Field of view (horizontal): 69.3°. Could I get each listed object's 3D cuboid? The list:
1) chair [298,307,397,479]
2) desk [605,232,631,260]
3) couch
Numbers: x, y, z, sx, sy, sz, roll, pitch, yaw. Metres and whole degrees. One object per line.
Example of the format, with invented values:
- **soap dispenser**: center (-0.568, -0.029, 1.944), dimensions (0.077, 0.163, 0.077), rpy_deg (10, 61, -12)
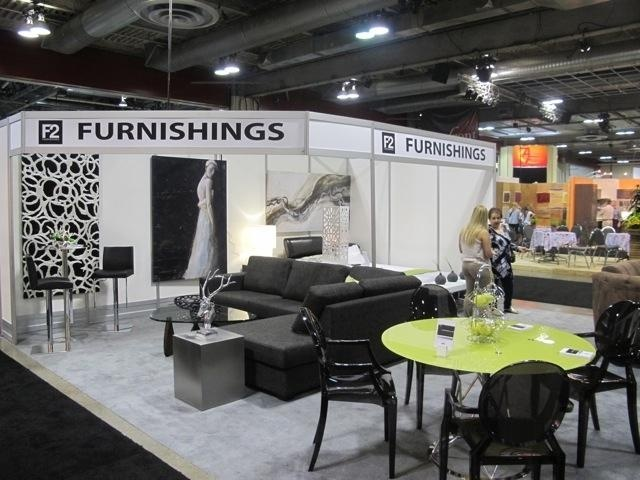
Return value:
- **chair**: center (0.306, 1.159, 4.063), dimensions (1.084, 1.582, 0.972), rpy_deg (-1, 3, 9)
- **desk**: center (7.724, 0.122, 12.016), dimensions (0.723, 0.658, 0.716), rpy_deg (1, 2, 11)
- **couch**: center (-0.048, 0.824, 4.778), dimensions (1.202, 0.678, 1.734), rpy_deg (0, 1, -39)
